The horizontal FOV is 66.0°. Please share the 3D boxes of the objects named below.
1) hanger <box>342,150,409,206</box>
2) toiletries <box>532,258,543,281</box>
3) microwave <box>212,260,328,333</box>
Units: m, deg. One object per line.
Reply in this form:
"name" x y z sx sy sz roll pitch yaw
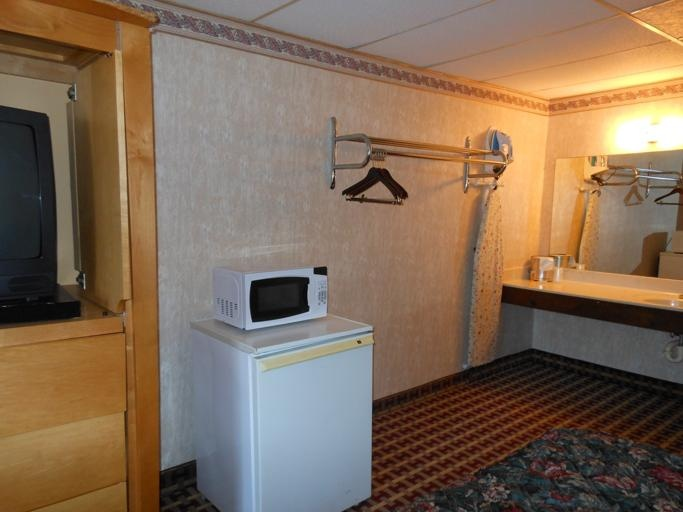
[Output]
"hanger" 0.212 -0.547 3.743 0.530 0.336 0.071 8 31 11
"toiletries" 1.866 0.128 5.047 0.059 0.217 0.154 -6 15 -22
"microwave" -0.502 0.189 3.114 0.572 0.268 0.410 -5 7 -40
